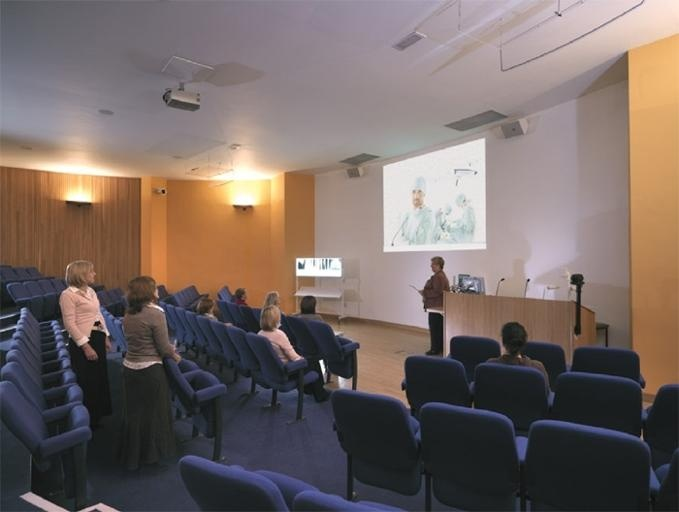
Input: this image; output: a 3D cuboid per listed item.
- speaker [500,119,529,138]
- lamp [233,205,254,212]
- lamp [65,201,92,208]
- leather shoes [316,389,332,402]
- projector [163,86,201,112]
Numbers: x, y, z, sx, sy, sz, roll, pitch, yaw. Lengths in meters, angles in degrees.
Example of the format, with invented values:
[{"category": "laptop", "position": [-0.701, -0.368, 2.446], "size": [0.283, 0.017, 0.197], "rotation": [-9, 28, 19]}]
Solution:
[{"category": "speaker", "position": [2.742, -1.976, 7.711], "size": [0.205, 0.276, 0.380], "rotation": [-1, 6, -41]}, {"category": "lamp", "position": [-2.372, -1.158, 12.147], "size": [0.477, 0.146, 0.165], "rotation": [0, 3, -7]}, {"category": "lamp", "position": [-5.939, -1.175, 11.265], "size": [0.553, 0.154, 0.302], "rotation": [-2, 3, -29]}, {"category": "leather shoes", "position": [-0.193, 1.622, 5.773], "size": [0.085, 0.173, 0.226], "rotation": [0, 1, 37]}, {"category": "projector", "position": [-2.055, -2.054, 6.386], "size": [0.410, 0.314, 0.359], "rotation": [-1, 3, -27]}]
